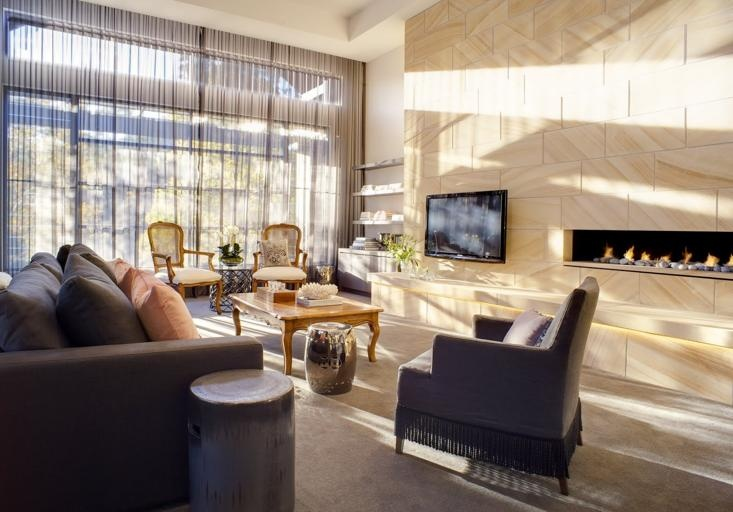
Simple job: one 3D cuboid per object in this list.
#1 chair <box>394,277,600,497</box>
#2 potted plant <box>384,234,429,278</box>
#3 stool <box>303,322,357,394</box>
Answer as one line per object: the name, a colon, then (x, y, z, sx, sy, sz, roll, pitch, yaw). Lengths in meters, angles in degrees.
chair: (0.907, 0.638, 3.396, 1.136, 1.194, 1.153, 0, -2, 28)
potted plant: (0.548, 0.033, 6.725, 0.448, 0.550, 0.848, -5, 14, -21)
stool: (-0.263, 0.785, 4.036, 0.420, 0.479, 0.458, 0, 2, -3)
